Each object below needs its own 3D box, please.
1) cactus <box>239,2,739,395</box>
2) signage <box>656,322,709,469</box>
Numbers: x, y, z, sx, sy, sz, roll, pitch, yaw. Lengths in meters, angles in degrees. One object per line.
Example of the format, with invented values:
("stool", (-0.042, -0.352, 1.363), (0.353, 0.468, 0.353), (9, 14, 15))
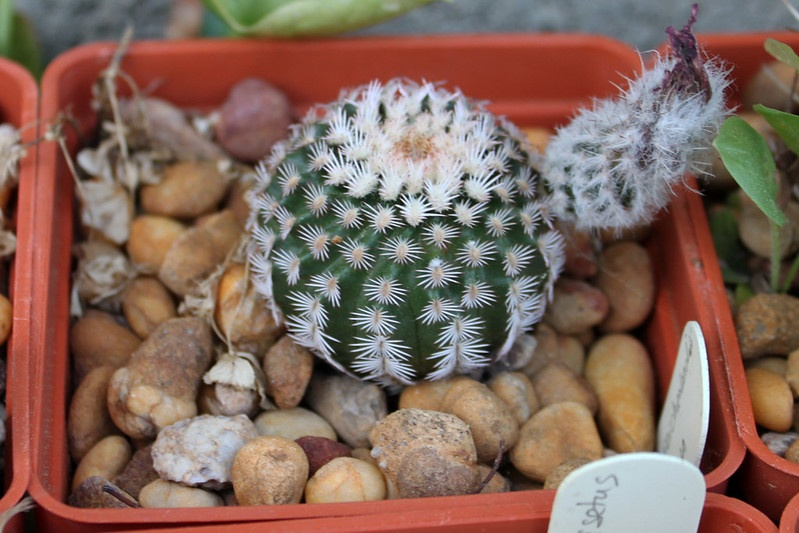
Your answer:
("cactus", (0.170, -0.062, 1.788), (0.809, 0.464, 0.669), (-24, 74, -1))
("signage", (0.519, 0.244, 1.514), (0.018, 0.208, 0.309), (10, 81, -5))
